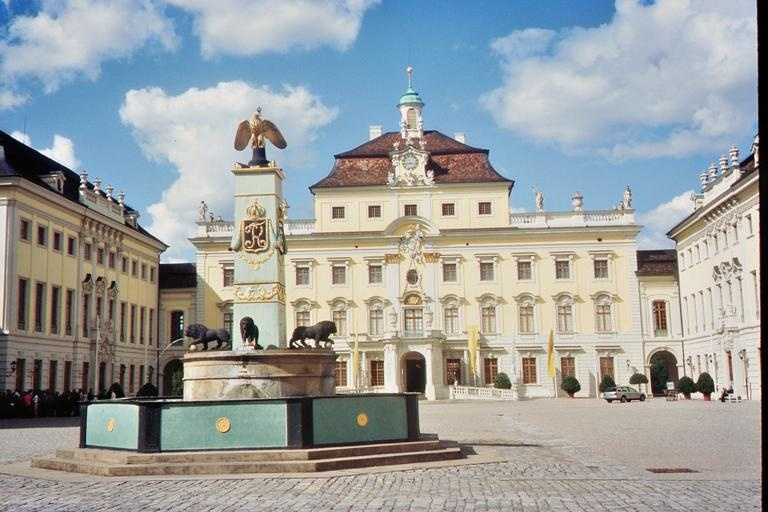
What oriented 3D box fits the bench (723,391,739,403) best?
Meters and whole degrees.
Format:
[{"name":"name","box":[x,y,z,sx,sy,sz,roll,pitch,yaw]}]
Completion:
[{"name":"bench","box":[21.923,8.794,52.495,0.827,0.518,0.821,1,-3,-8]}]

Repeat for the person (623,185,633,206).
[{"name":"person","box":[20.339,-4.655,69.592,0.398,1.630,0.932,-1,-15,-3]}]

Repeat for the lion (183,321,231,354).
[{"name":"lion","box":[-6.049,2.788,28.543,2.161,1.242,0.721,1,-13,11]}]

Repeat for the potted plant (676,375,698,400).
[{"name":"potted plant","box":[21.327,9.017,58.396,1.021,1.526,1.675,12,-20,-42]}]

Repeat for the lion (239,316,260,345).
[{"name":"lion","box":[-4.373,2.452,27.482,0.408,0.668,1.056,-3,-29,1]}]

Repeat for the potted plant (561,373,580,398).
[{"name":"potted plant","box":[14.623,9.905,65.249,1.485,1.615,1.496,-1,-12,9]}]
